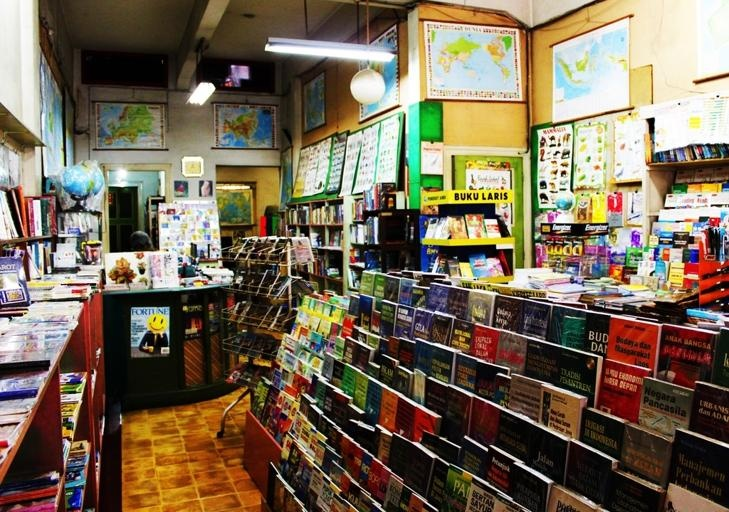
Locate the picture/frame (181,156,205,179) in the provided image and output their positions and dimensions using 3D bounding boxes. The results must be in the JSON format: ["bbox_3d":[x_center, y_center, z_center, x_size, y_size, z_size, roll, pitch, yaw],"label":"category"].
[{"bbox_3d":[-3.736,-1.942,11.453,0.433,0.476,0.060,5,-1,-26],"label":"picture/frame"}]
